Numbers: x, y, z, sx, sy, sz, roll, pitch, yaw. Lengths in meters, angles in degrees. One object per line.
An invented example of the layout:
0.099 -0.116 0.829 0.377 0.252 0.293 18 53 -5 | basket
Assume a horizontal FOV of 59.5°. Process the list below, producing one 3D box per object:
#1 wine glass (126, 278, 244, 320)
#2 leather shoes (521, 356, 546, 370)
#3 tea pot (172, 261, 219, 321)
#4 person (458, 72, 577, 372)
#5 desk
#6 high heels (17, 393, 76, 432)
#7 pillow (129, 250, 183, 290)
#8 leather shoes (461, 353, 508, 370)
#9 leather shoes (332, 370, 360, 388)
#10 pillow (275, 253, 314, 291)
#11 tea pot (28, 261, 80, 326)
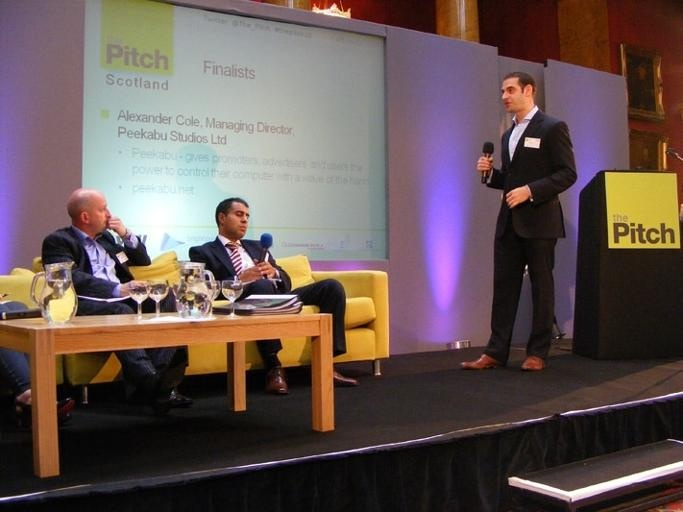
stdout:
-0.615 0.170 2.654 0.200 0.146 0.342 -5 -5 42 | wine glass
1.246 0.696 3.905 0.138 0.088 0.205 -1 0 23 | leather shoes
-0.624 0.143 2.607 0.193 0.242 0.130 -2 0 -44 | tea pot
1.230 -0.255 4.027 0.640 1.900 0.408 -1 0 23 | person
-0.706 0.526 2.534 1.349 0.648 0.354 -2 0 -21 | desk
-1.380 0.718 2.740 0.352 0.160 0.132 -10 -13 25 | high heels
-1.183 0.083 3.827 0.306 0.211 0.324 -1 -6 -7 | pillow
0.987 0.720 4.080 0.333 0.160 0.108 3 -8 -5 | leather shoes
0.013 0.737 3.556 0.208 0.097 0.067 -1 -4 -4 | leather shoes
-0.334 0.105 4.271 0.217 0.234 0.204 -15 -20 20 | pillow
-1.179 0.152 2.469 0.230 0.311 0.180 -1 0 -27 | tea pot
